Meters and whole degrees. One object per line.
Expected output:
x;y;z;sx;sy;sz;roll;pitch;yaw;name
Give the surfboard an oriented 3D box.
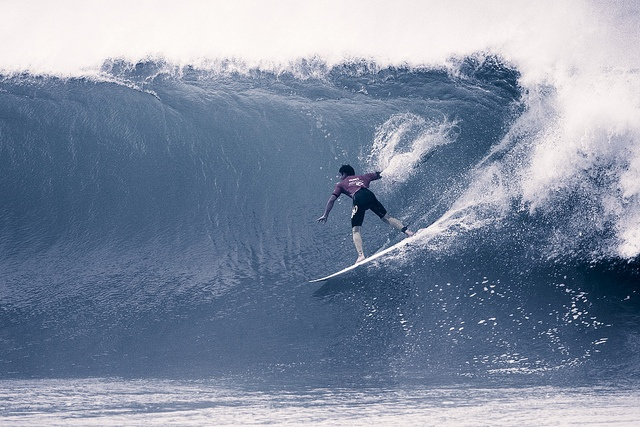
1.118;0.642;15.213;2.397;0.182;0.252;-24;22;-12;surfboard
